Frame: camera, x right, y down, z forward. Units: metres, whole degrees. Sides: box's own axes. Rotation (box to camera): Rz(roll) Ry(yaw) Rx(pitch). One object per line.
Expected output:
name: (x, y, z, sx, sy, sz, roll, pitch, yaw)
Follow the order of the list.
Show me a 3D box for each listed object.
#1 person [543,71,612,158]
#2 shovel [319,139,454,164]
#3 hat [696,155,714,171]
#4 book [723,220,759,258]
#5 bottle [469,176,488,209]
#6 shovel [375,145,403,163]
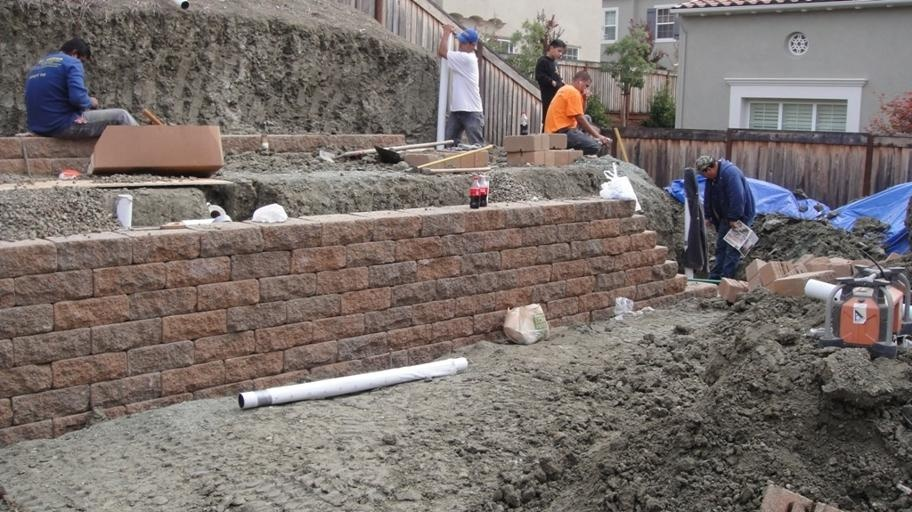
person: (2.166, -2.448, 15.120, 1.094, 1.782, 1.069, 1, 16, -13)
shovel: (-1.093, -1.696, 13.325, 2.245, 0.171, 0.730, -6, 6, -31)
hat: (4.237, -1.570, 14.051, 0.298, 0.226, 0.262, -14, 17, -38)
book: (4.844, -0.251, 14.030, 0.564, 0.562, 0.153, 50, 26, 16)
bottle: (0.283, -0.846, 10.793, 0.229, 0.405, 0.349, -3, 14, 1)
shovel: (-1.040, -1.534, 12.682, 0.316, 0.084, 0.338, 10, -8, -36)
